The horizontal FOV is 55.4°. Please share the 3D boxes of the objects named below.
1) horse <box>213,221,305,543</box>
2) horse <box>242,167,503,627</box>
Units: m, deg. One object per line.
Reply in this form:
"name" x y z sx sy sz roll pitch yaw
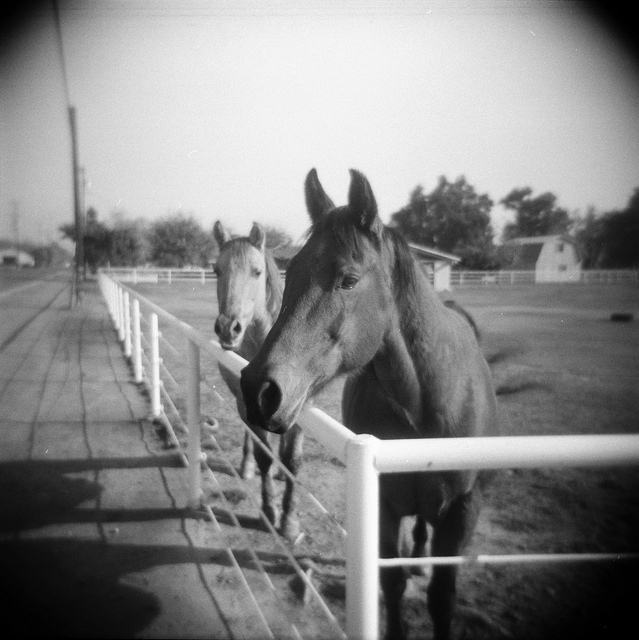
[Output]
"horse" -0.326 0.073 4.412 0.247 1.037 1.194 1 28 27
"horse" 0.268 0.479 2.408 0.665 2.095 1.341 6 8 36
